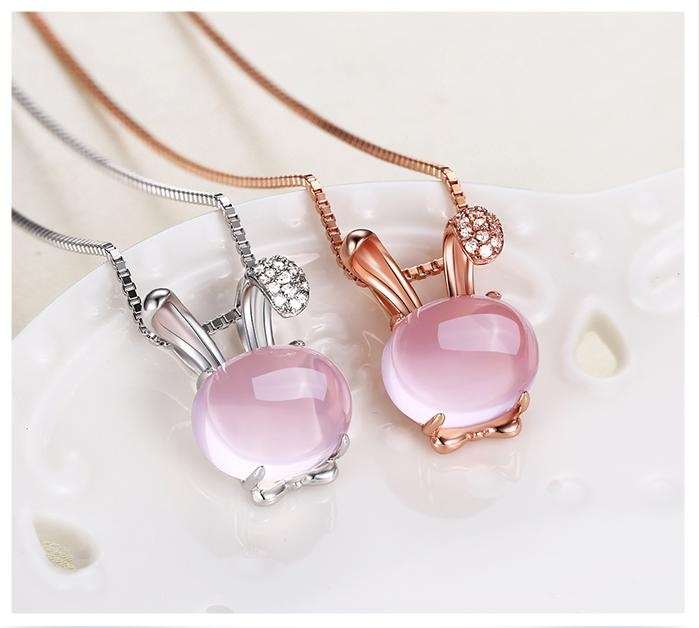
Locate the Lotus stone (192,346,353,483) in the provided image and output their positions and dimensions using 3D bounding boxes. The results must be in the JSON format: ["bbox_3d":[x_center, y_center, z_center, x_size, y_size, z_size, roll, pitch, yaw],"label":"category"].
[{"bbox_3d":[-0.064,0.080,0.522,0.129,0.095,0.066,-13,-43,-3],"label":"Lotus stone"}]
